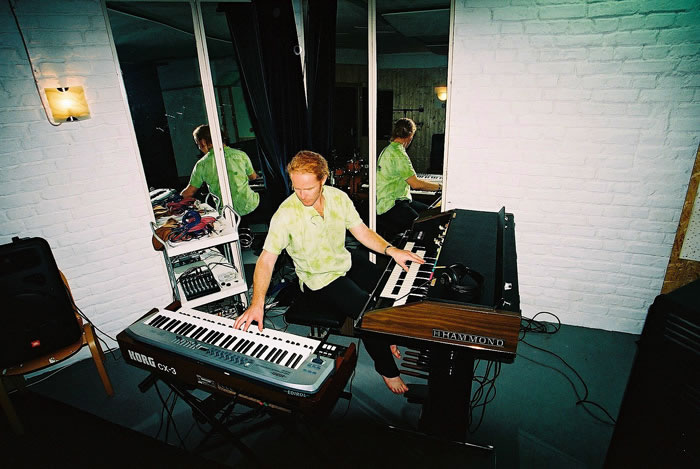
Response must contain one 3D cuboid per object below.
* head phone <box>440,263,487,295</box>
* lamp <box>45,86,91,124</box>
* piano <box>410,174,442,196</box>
[{"bbox_3d":[0.768,0.300,3.143,0.267,0.105,0.302,-16,37,-39],"label":"head phone"},{"bbox_3d":[-2.350,-1.088,3.870,0.290,0.291,0.062,-12,25,-26],"label":"lamp"},{"bbox_3d":[0.793,-0.589,4.838,0.293,0.092,0.384,7,23,11],"label":"piano"}]
